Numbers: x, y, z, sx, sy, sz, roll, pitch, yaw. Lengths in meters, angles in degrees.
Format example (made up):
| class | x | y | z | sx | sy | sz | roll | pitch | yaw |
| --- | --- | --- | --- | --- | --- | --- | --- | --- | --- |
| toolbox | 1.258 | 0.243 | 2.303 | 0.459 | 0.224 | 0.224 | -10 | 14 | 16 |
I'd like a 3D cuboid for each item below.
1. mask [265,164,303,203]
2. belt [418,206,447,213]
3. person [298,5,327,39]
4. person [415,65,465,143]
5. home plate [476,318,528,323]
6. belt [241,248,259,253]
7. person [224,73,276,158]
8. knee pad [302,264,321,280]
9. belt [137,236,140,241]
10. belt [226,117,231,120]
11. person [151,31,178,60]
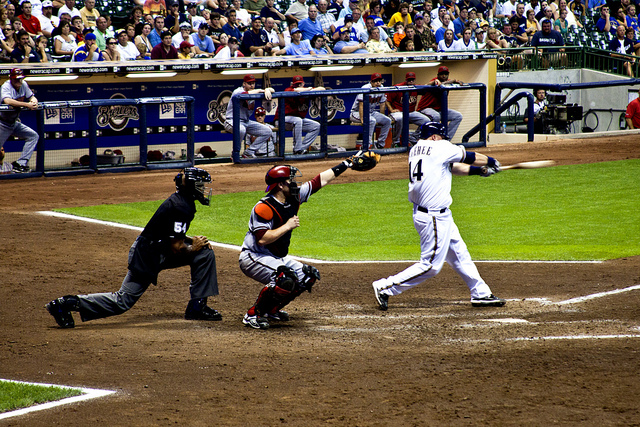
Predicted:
| class | x | y | z | sx | sy | sz | roll | pitch | yaw |
| --- | --- | --- | --- | --- | --- | --- | --- | --- | --- |
| mask | -0.468 | -0.415 | 16.388 | 0.577 | 0.533 | 0.279 | -4 | 9 | -32 |
| belt | 1.635 | -0.051 | 16.983 | 0.396 | 0.073 | 0.074 | 1 | 7 | 8 |
| person | -0.216 | -4.890 | 29.169 | 0.578 | 0.798 | 1.034 | 19 | 27 | 37 |
| person | 2.975 | -2.631 | 27.955 | 1.200 | 1.770 | 1.262 | -9 | 8 | -28 |
| home plate | 2.632 | 1.557 | 16.572 | 0.654 | 0.032 | 0.178 | 0 | 6 | 1 |
| belt | -1.001 | 0.533 | 16.447 | 0.241 | 0.061 | 0.034 | 2 | 8 | 16 |
| person | -1.585 | -2.226 | 26.106 | 1.132 | 1.900 | 1.170 | 0 | 8 | 2 |
| knee pad | -0.092 | 0.837 | 16.228 | 0.256 | 0.061 | 0.174 | 23 | 27 | -25 |
| belt | -2.573 | 0.361 | 16.400 | 0.057 | 0.013 | 0.054 | -17 | 30 | 33 |
| belt | -2.066 | -2.178 | 26.043 | 0.092 | 0.033 | 0.127 | 0 | -6 | 3 |
| person | -3.575 | -3.876 | 26.414 | 0.863 | 0.714 | 0.456 | -8 | 15 | -39 |
